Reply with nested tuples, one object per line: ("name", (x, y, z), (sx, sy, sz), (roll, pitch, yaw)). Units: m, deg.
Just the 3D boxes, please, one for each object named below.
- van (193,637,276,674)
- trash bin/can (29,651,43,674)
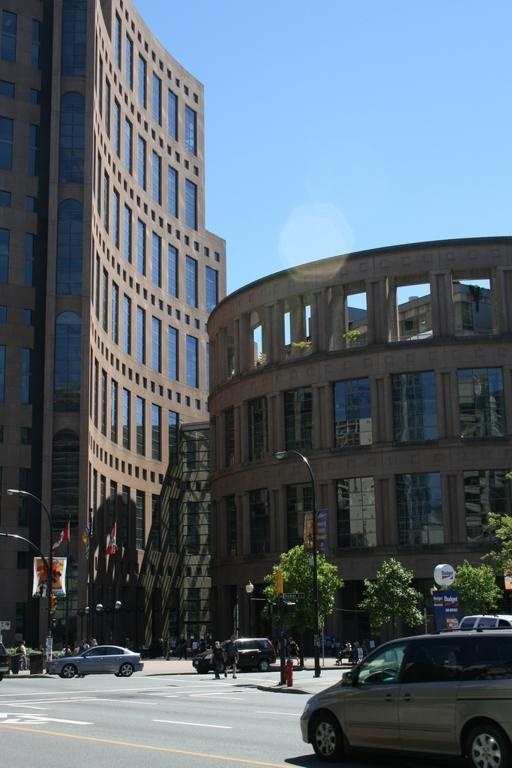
("van", (-0.711, 11.909, 47.317), (3.962, 1.739, 1.942), (5, -15, -14))
("trash bin/can", (-8.979, 11.358, 43.776), (0.511, 0.922, 1.773), (3, -18, -13))
